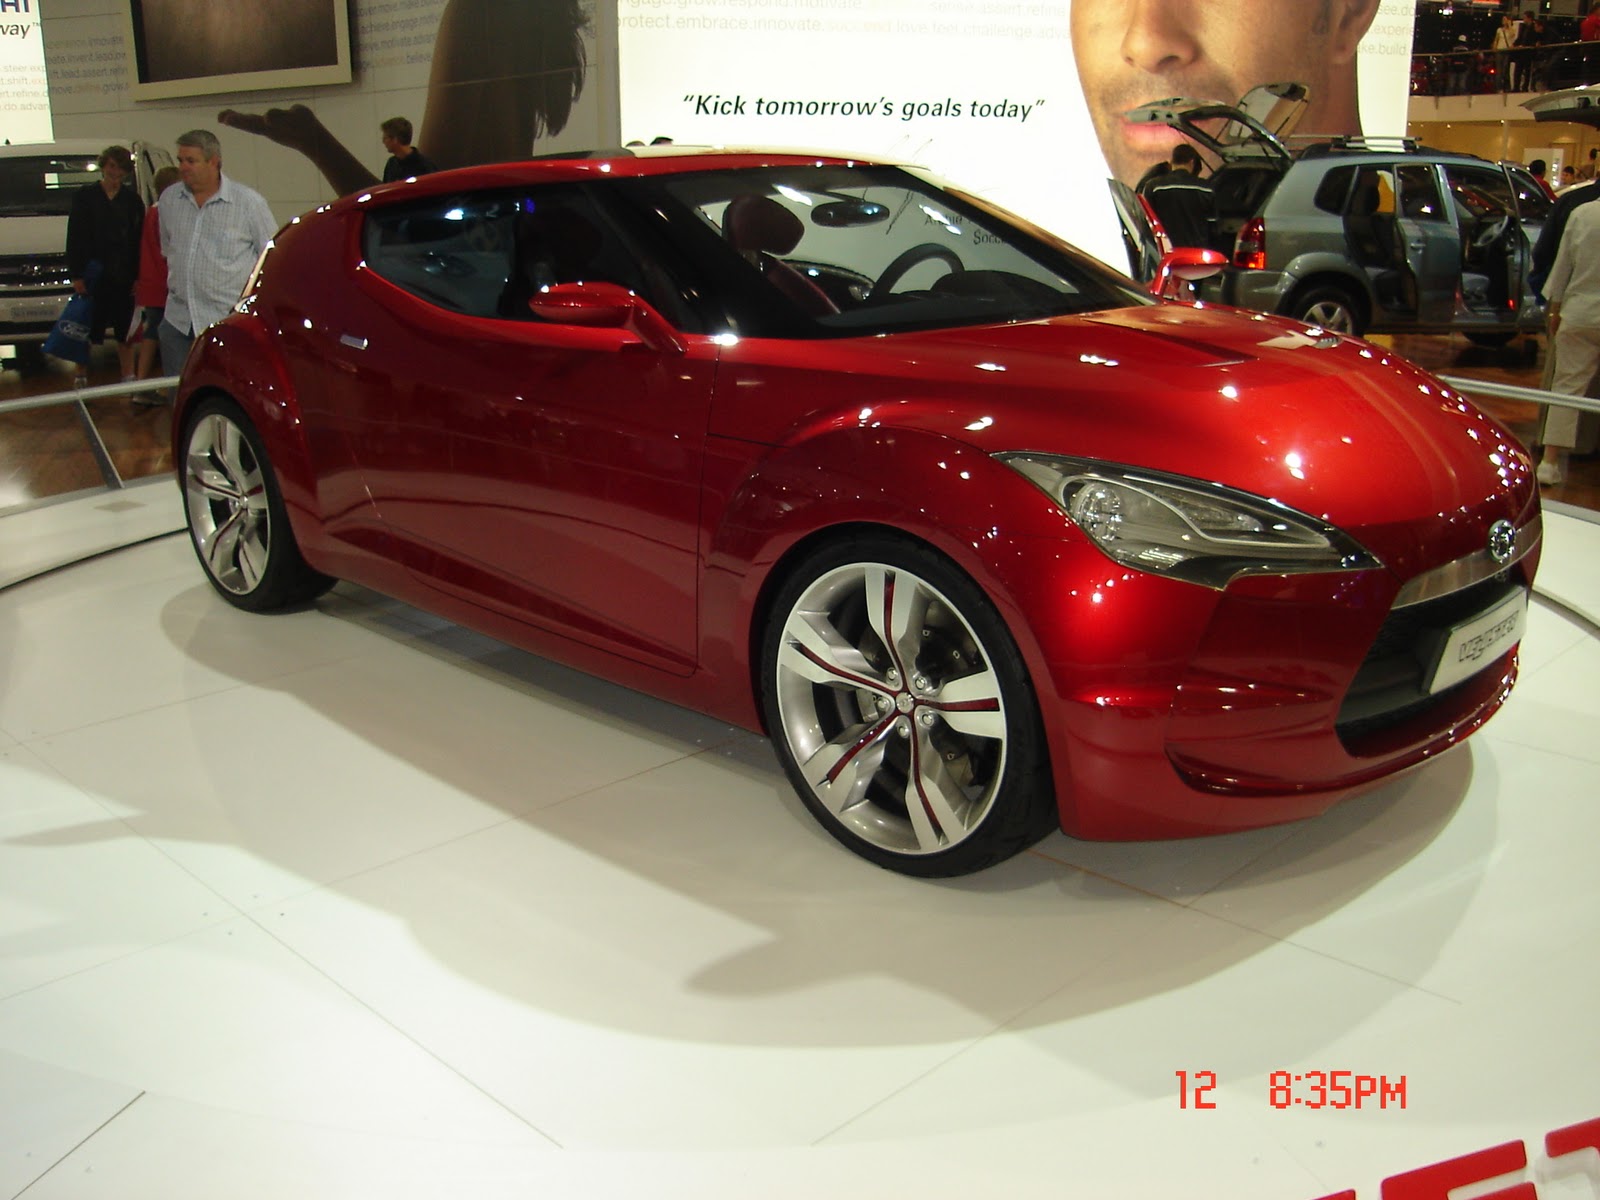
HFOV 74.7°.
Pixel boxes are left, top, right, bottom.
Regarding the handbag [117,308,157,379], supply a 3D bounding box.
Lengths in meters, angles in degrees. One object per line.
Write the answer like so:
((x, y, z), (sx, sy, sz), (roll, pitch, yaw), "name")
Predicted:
((-4.453, -1.748, 7.147), (0.256, 0.435, 1.015), (-10, 21, -29), "handbag")

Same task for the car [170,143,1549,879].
((-0.235, -0.452, 3.291), (3.922, 1.133, 1.916), (13, 22, 34), "car")

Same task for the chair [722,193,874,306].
((-0.063, -1.023, 2.997), (0.343, 0.387, 0.422), (-16, 24, -40), "chair")

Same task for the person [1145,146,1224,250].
((2.764, -2.899, 7.559), (0.647, 0.383, 0.921), (6, 30, 17), "person")
